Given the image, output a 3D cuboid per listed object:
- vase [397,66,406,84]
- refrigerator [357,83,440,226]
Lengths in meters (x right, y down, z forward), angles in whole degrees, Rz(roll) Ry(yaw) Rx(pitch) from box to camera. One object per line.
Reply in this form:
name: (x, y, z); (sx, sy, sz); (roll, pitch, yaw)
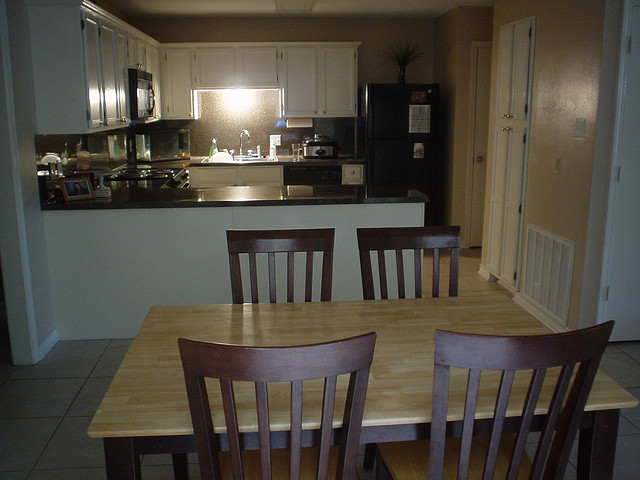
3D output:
vase: (1.005, -2.056, 6.350); (0.075, 0.206, 0.225); (-1, 13, 4)
refrigerator: (0.831, -0.936, 5.849); (1.022, 1.794, 1.925); (1, 13, 13)
